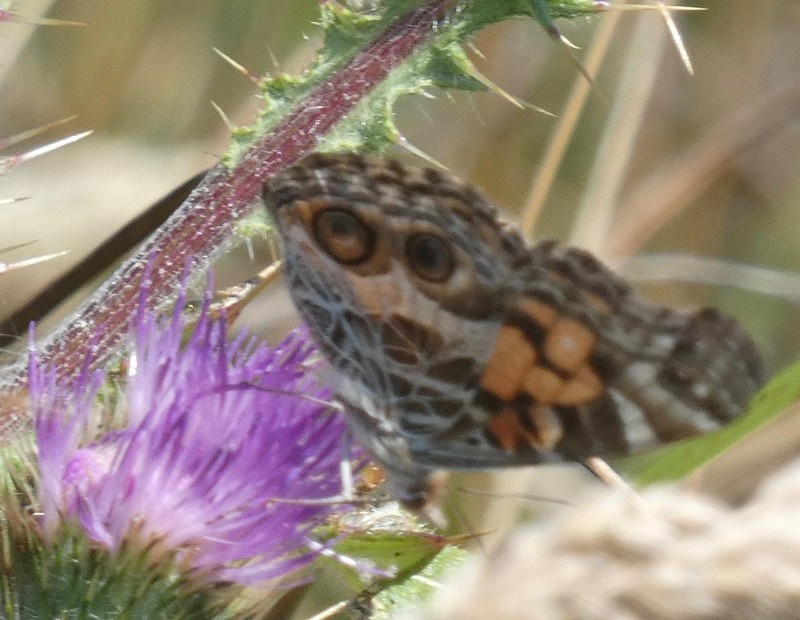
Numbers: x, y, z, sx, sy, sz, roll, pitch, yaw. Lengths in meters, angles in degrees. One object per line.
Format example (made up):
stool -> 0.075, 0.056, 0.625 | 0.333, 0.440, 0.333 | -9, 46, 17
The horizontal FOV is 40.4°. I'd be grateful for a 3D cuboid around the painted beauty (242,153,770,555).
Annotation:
painted beauty -> 0.171, 0.018, 1.518 | 0.589, 0.355, 0.238 | -12, -9, -5
